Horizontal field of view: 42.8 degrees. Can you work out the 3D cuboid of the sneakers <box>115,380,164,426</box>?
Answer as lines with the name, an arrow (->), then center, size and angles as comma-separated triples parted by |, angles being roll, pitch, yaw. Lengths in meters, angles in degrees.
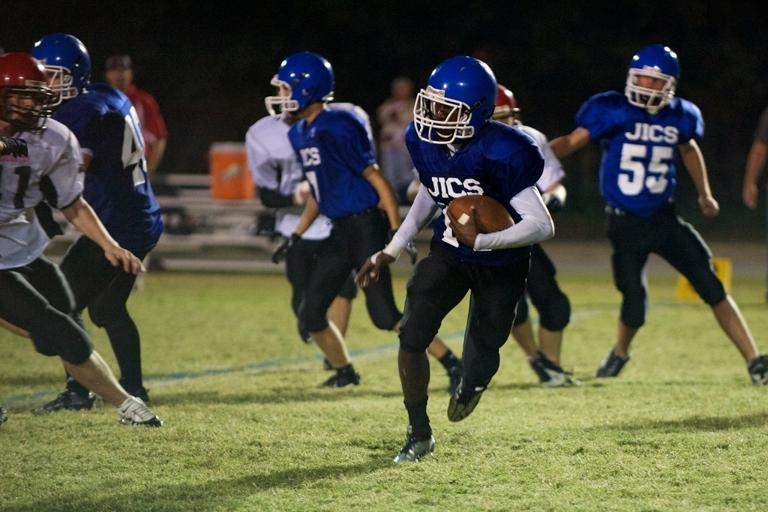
sneakers -> -1.681, 1.043, 6.620 | 0.376, 0.156, 0.141 | 2, -1, 19

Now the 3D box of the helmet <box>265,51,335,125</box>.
helmet -> -0.583, -1.290, 7.360 | 0.583, 0.441, 0.433 | 0, 12, 2

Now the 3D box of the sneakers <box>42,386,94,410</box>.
sneakers -> -2.220, 1.020, 6.960 | 0.410, 0.156, 0.130 | 4, -6, -17

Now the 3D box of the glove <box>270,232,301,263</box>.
glove -> -0.808, -0.076, 8.063 | 0.093, 0.356, 0.114 | 45, 17, 4

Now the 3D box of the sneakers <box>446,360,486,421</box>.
sneakers -> 0.537, 0.893, 6.357 | 0.153, 0.431, 0.186 | 31, 30, -14

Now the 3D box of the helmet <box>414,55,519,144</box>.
helmet -> 0.491, -0.980, 6.096 | 0.604, 0.430, 0.466 | -31, 51, -30

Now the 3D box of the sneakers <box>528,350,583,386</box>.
sneakers -> 1.331, 0.898, 7.649 | 0.479, 0.196, 0.163 | 5, -2, 20

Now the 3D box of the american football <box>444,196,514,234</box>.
american football -> 0.581, -0.230, 5.935 | 0.354, 0.195, 0.215 | 18, 18, -13

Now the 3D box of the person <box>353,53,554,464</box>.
person -> 0.498, 0.016, 6.161 | 1.034, 2.496, 0.611 | -1, 10, -2

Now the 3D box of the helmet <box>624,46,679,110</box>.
helmet -> 2.018, -1.328, 7.366 | 0.394, 0.496, 0.345 | 1, 10, 7

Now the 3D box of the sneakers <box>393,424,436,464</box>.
sneakers -> 0.143, 1.197, 6.176 | 0.383, 0.166, 0.125 | -6, 2, -35
